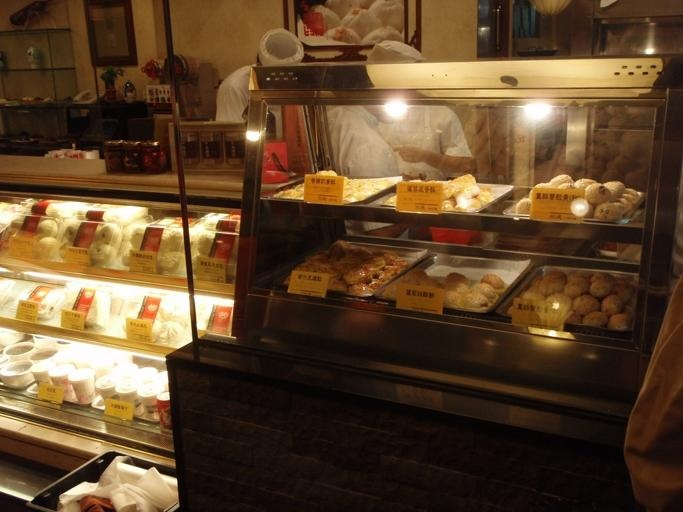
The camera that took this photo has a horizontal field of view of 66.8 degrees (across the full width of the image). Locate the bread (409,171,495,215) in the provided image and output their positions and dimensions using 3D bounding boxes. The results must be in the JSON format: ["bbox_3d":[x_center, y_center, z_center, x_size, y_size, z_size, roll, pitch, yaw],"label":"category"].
[{"bbox_3d":[0.351,-0.183,1.520,0.150,0.042,0.140,20,38,33],"label":"bread"}]

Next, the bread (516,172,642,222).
[{"bbox_3d":[0.633,-0.162,1.406,0.312,0.103,0.152,5,19,14],"label":"bread"}]

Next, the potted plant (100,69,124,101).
[{"bbox_3d":[-2.684,-2.018,6.069,0.264,0.371,0.470,-8,20,-22],"label":"potted plant"}]
